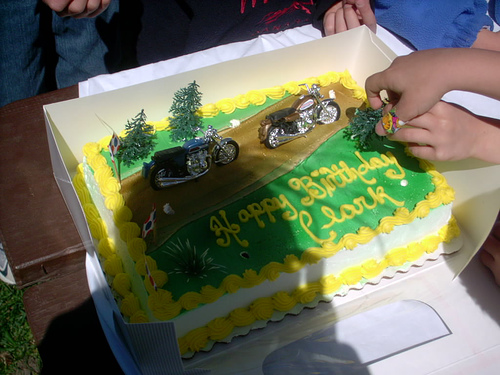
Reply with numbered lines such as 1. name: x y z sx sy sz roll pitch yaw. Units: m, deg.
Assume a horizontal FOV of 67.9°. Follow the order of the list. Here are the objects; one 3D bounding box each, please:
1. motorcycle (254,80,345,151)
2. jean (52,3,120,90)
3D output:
1. motorcycle: 0.540 -0.773 3.938 1.081 0.518 0.272 -27 32 -27
2. jean: -1.992 -1.712 4.469 0.906 0.314 1.218 0 100 -24
